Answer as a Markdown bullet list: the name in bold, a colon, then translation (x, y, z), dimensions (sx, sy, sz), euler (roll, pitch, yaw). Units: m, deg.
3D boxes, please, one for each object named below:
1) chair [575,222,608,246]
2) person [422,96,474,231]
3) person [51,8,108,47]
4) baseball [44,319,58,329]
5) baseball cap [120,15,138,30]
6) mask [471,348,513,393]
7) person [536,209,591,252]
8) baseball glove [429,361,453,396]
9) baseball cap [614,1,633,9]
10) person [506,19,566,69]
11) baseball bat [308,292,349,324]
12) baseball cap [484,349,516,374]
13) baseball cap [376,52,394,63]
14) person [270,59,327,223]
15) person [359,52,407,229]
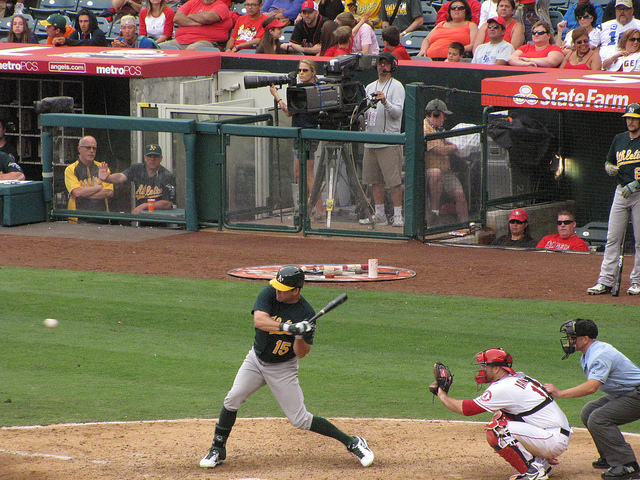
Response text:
- **chair**: translation (4.701, -0.141, 25.714), dimensions (0.627, 0.250, 0.333), euler (0, 4, 12)
- **person**: translation (2.182, -1.284, 25.336), dimensions (0.850, 2.259, 1.333), euler (0, 6, 5)
- **person**: translation (-4.733, -4.282, 29.879), dimensions (0.857, 0.608, 1.051), euler (1, 2, 19)
- **baseball**: translation (-3.829, 1.199, 21.290), dimensions (0.144, 0.066, 0.136), euler (17, 14, 19)
- **baseball cap**: translation (-3.724, -4.353, 29.122), dimensions (0.270, 0.221, 0.409), euler (-1, 6, -9)
- **mask**: translation (2.063, 1.553, 17.778), dimensions (0.579, 0.483, 0.379), euler (-1, -8, 17)
- **person**: translation (4.009, -0.145, 24.745), dimensions (0.958, 0.660, 0.562), euler (2, 5, 44)
- **baseball glove**: translation (1.439, 1.676, 17.888), dimensions (0.237, 0.369, 0.301), euler (1, -5, 4)
- **baseball cap**: translation (5.292, -4.162, 26.038), dimensions (0.271, 0.147, 0.299), euler (0, 6, 7)
- **person**: translation (3.872, -3.530, 26.648), dimensions (1.024, 0.769, 0.670), euler (7, 16, 39)
- **baseball bat**: translation (0.126, 0.946, 20.517), dimensions (0.799, 0.129, 0.126), euler (-35, 31, 3)
- **baseball cap**: translation (2.105, 1.422, 17.653), dimensions (0.378, 0.228, 0.253), euler (18, -1, 5)
- **baseball cap**: translation (1.128, -3.104, 24.993), dimensions (0.193, 0.174, 0.258), euler (-5, 7, -39)
- **person**: translation (-0.338, -1.733, 25.600), dimensions (0.840, 2.811, 1.166), euler (-1, 6, -6)
- **person**: translation (1.060, -1.721, 25.199), dimensions (0.777, 2.965, 1.070), euler (0, 6, 1)
